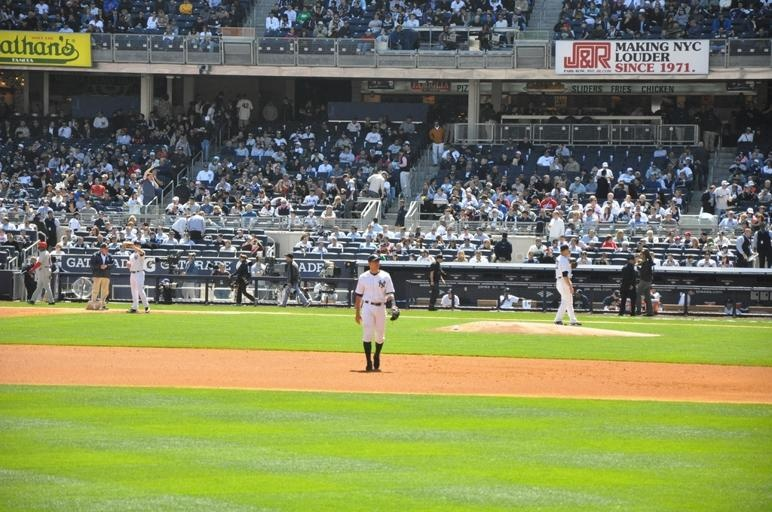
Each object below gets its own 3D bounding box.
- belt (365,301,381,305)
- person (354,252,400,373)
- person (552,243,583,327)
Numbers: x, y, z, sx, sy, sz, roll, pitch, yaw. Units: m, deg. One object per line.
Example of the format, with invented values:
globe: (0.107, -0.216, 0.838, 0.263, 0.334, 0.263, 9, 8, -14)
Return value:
belt: (-0.469, 1.776, 73.924, 0.586, 0.169, 0.064, 0, 2, -7)
person: (-0.474, 2.186, 74.022, 1.324, 4.264, 0.737, 0, 2, -7)
person: (7.323, 1.192, 80.943, 1.135, 3.197, 1.128, 0, 0, 8)
